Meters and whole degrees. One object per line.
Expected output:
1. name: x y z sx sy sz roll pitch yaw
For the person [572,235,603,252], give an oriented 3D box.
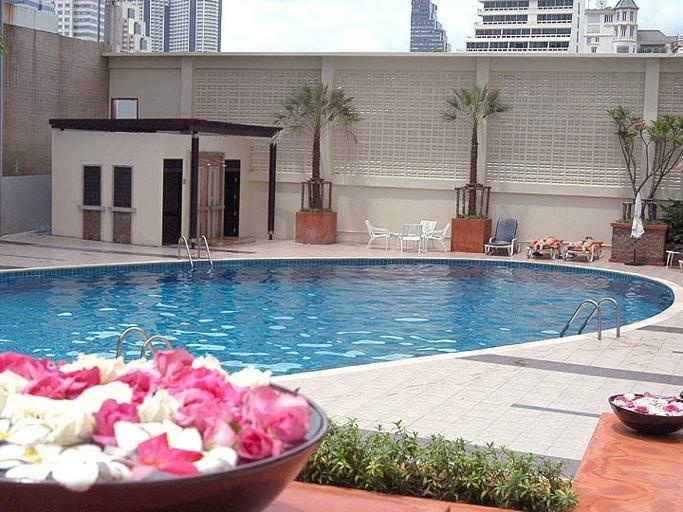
1. person: 7.585 -0.328 17.265 0.574 0.285 0.901 5 7 36
